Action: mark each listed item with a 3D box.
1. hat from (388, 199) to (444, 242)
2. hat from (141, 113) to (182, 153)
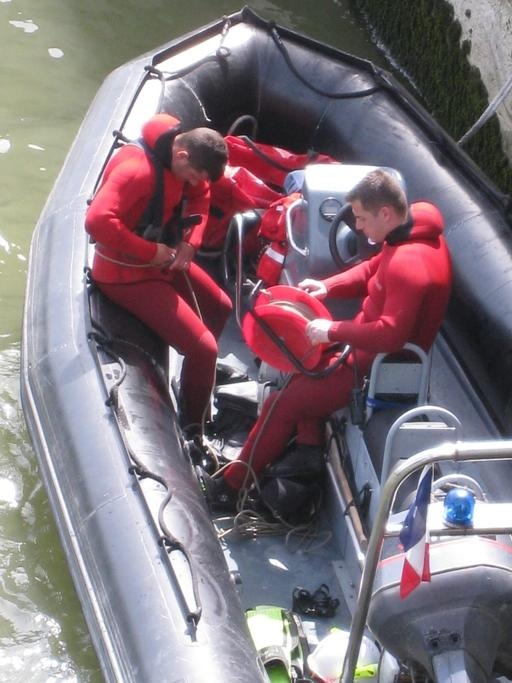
[{"bbox_3d":[0.456,-0.328,2.580,0.129,0.083,0.181,19,43,15],"label":"hat"},{"bbox_3d":[-0.271,-0.620,2.708,0.123,0.114,0.092,17,15,-8],"label":"hat"}]
